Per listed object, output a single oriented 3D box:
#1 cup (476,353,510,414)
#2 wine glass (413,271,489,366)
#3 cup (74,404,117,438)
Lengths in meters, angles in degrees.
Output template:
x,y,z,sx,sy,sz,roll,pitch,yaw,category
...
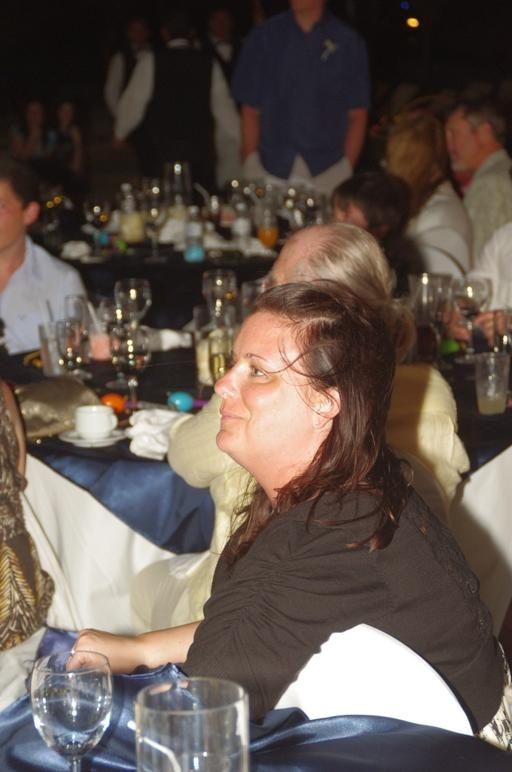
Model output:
x,y,z,sx,sy,sz,roll,pitch,yaw,category
0.639,-0.006,1.906,0.099,0.157,0.102,2,20,-1,cup
0.633,-0.221,2.469,0.340,0.330,0.305,-1,-2,-1,wine glass
-0.383,0.085,1.685,0.094,0.060,0.071,5,8,18,cup
